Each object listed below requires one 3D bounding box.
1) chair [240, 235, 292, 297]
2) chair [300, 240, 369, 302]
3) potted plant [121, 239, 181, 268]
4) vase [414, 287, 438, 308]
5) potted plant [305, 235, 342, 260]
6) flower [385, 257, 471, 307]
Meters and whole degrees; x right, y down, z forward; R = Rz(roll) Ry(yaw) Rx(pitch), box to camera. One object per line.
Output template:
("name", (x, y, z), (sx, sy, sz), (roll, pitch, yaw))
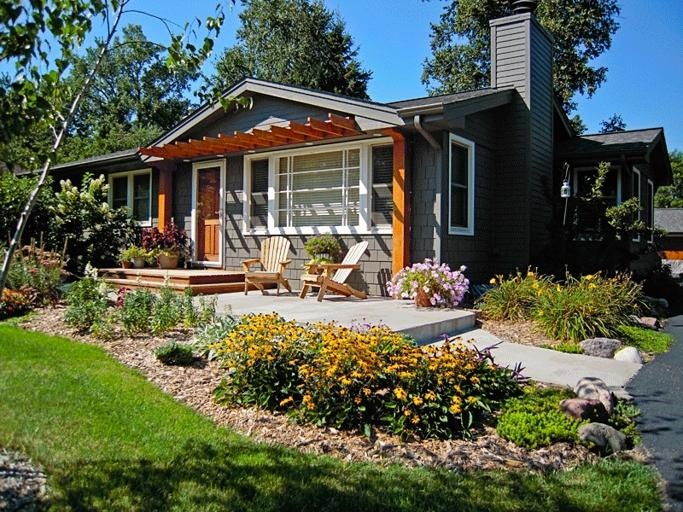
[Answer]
("chair", (-1.352, 0.169, 10.261), (0.773, 1.098, 1.064), (1, 0, 4))
("chair", (-0.076, 0.253, 9.593), (1.070, 1.029, 0.815), (1, -1, -30))
("potted plant", (-4.128, 0.023, 12.132), (0.774, 0.358, 0.687), (-4, -3, 31))
("vase", (1.317, 0.665, 8.811), (0.250, 0.239, 0.286), (1, -4, 0))
("potted plant", (-0.348, -0.154, 10.211), (0.463, 0.399, 0.515), (-1, -1, 12))
("flower", (1.512, 0.446, 9.094), (1.085, 0.673, 1.155), (18, 10, 28))
